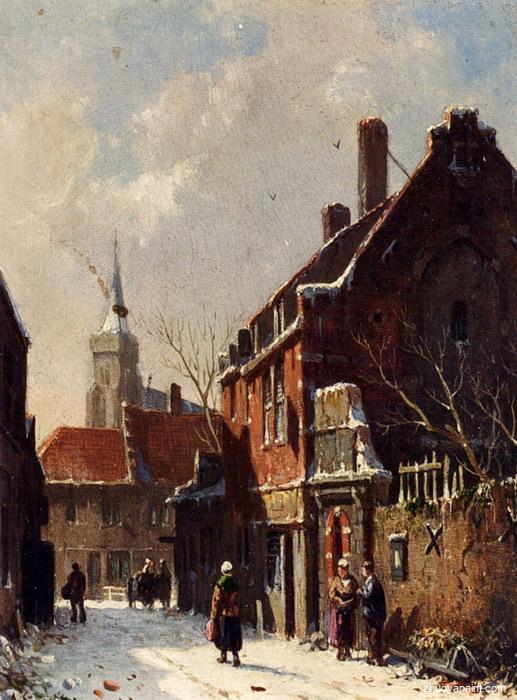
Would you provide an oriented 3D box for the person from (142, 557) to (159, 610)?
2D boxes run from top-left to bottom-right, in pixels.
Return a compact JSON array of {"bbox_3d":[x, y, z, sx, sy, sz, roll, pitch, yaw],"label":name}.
[{"bbox_3d":[-3.028,6.554,42.659,0.299,1.473,0.471,-5,-18,9],"label":"person"}]

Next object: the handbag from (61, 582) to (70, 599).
[{"bbox_3d":[-4.564,5.765,36.336,0.084,0.420,0.248,6,-14,-24],"label":"handbag"}]

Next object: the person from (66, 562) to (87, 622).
[{"bbox_3d":[-4.313,5.793,36.423,0.438,1.517,0.344,-3,19,-16],"label":"person"}]
